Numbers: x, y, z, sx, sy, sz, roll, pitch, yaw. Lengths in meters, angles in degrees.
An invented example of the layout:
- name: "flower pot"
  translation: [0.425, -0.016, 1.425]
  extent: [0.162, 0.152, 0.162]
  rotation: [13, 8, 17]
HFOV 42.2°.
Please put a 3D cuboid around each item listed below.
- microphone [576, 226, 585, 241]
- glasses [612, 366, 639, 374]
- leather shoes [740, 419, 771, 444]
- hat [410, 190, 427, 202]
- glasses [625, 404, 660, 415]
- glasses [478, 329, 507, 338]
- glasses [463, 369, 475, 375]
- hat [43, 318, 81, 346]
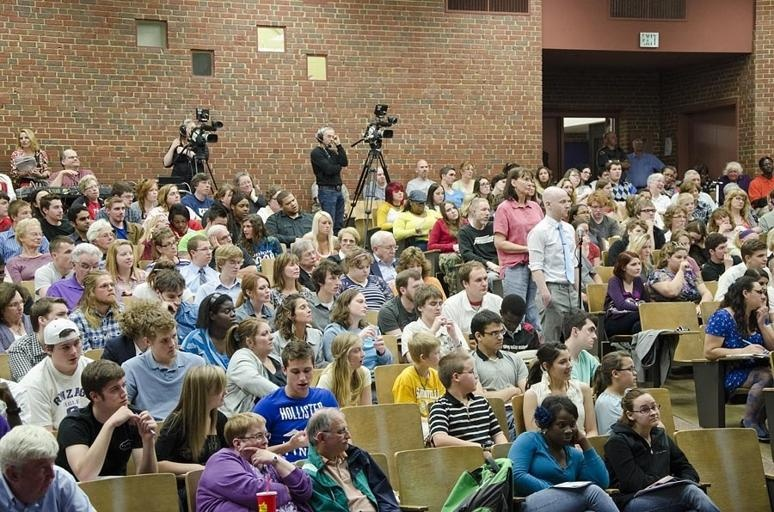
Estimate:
- name: "microphone"
  translation: [2.259, -0.256, 11.767]
  extent: [0.139, 0.205, 0.196]
  rotation: [0, 6, 12]
- name: "glasses"
  translation: [2.185, 1.034, 9.217]
  extent: [0.211, 0.059, 0.078]
  rotation: [-4, 4, -28]
- name: "leather shoes"
  translation: [3.764, 1.791, 10.328]
  extent: [0.217, 0.228, 0.317]
  rotation: [-2, 4, -9]
- name: "hat"
  translation: [0.452, -0.894, 15.203]
  extent: [0.199, 0.144, 0.262]
  rotation: [-3, -7, -27]
- name: "glasses"
  translation: [2.216, 1.306, 8.641]
  extent: [0.258, 0.087, 0.091]
  rotation: [-3, 4, -13]
- name: "glasses"
  translation: [1.014, 0.746, 9.698]
  extent: [0.192, 0.078, 0.068]
  rotation: [-3, 4, -14]
- name: "glasses"
  translation: [0.720, 1.023, 8.935]
  extent: [0.093, 0.051, 0.021]
  rotation: [-3, 4, -23]
- name: "hat"
  translation: [-2.804, 0.651, 8.678]
  extent: [0.283, 0.222, 0.462]
  rotation: [3, -1, -22]
